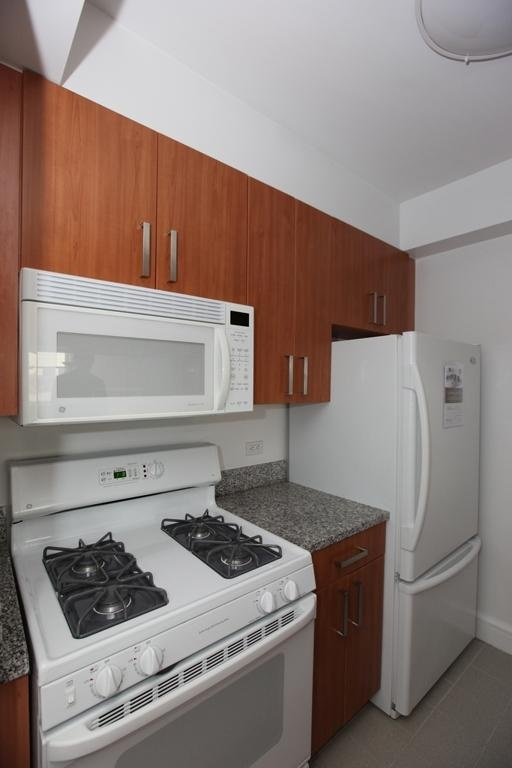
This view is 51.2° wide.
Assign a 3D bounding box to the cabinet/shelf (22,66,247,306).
[{"bbox_3d":[-0.417,-0.513,1.400,0.366,0.490,0.127,-2,9,-30],"label":"cabinet/shelf"}]

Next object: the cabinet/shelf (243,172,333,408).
[{"bbox_3d":[0.134,-0.314,1.969,0.132,0.783,0.482,8,10,36],"label":"cabinet/shelf"}]

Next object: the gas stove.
[{"bbox_3d":[-0.284,0.276,1.329,0.561,0.689,0.423,-3,5,-43],"label":"gas stove"}]
